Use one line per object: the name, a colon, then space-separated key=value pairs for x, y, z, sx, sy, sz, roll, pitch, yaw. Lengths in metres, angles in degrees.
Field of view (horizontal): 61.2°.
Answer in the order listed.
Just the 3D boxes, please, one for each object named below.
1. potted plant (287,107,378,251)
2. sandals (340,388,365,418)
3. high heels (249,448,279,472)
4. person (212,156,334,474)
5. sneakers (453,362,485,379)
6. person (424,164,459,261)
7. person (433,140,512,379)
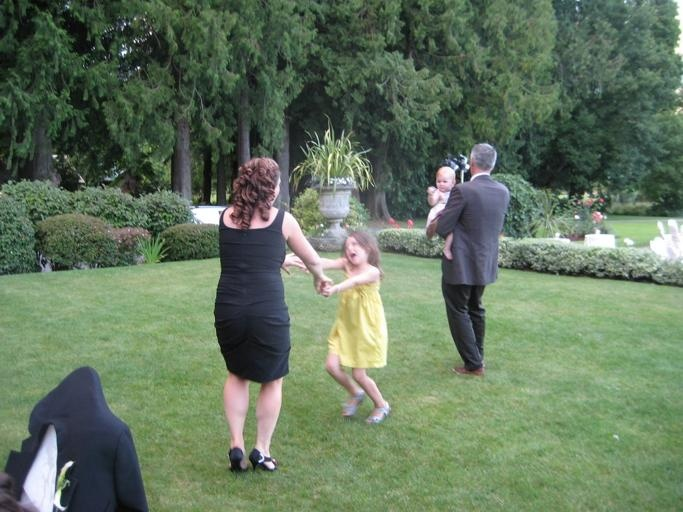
potted plant: x=-0.220 y=-1.526 z=12.906 sx=1.330 sy=2.671 sz=1.708 roll=-2 pitch=8 yaw=4
sandals: x=0.103 y=1.292 z=5.118 sx=0.103 sy=0.136 sz=0.316 roll=-12 pitch=16 yaw=26
high heels: x=-0.579 y=1.511 z=4.323 sx=0.114 sy=0.131 sz=0.229 roll=3 pitch=-8 yaw=25
person: x=-0.530 y=0.433 z=4.457 sx=0.868 sy=2.404 sz=0.618 roll=0 pitch=6 yaw=-36
sneakers: x=1.285 y=1.124 z=5.823 sx=0.298 sy=0.149 sz=0.122 roll=6 pitch=2 yaw=19
person: x=1.270 y=-0.549 z=7.204 sx=0.408 sy=1.092 sz=0.353 roll=-11 pitch=23 yaw=-14
person: x=1.286 y=0.177 z=5.799 sx=0.684 sy=1.951 sz=0.395 roll=1 pitch=11 yaw=2
